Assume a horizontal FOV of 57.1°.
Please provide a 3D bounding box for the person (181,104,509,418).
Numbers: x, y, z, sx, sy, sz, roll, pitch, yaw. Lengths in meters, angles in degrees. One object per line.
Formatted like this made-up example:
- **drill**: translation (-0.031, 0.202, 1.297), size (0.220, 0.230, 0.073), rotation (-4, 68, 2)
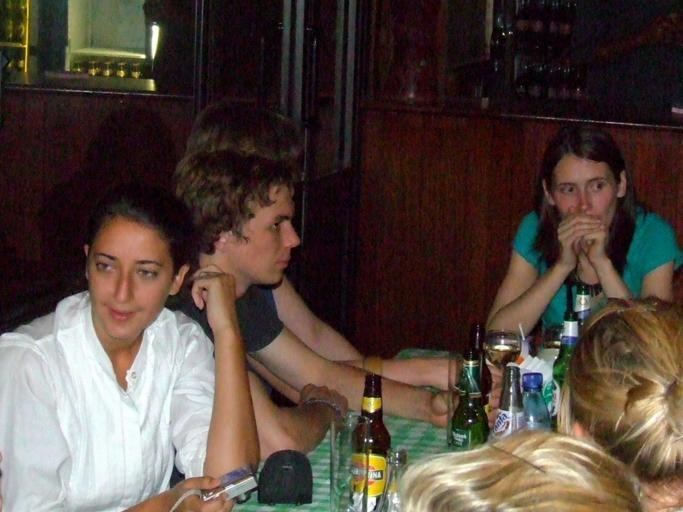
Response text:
- **person**: translation (-0.022, 0.125, 1.935), size (0.960, 1.133, 0.461), rotation (2, 24, 16)

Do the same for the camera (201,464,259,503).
- **camera**: translation (-0.207, 0.406, 1.158), size (0.084, 0.038, 0.051), rotation (-20, -1, -12)

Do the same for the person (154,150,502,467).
- **person**: translation (-0.019, 0.122, 1.959), size (1.024, 0.900, 0.464), rotation (-10, 8, -8)
